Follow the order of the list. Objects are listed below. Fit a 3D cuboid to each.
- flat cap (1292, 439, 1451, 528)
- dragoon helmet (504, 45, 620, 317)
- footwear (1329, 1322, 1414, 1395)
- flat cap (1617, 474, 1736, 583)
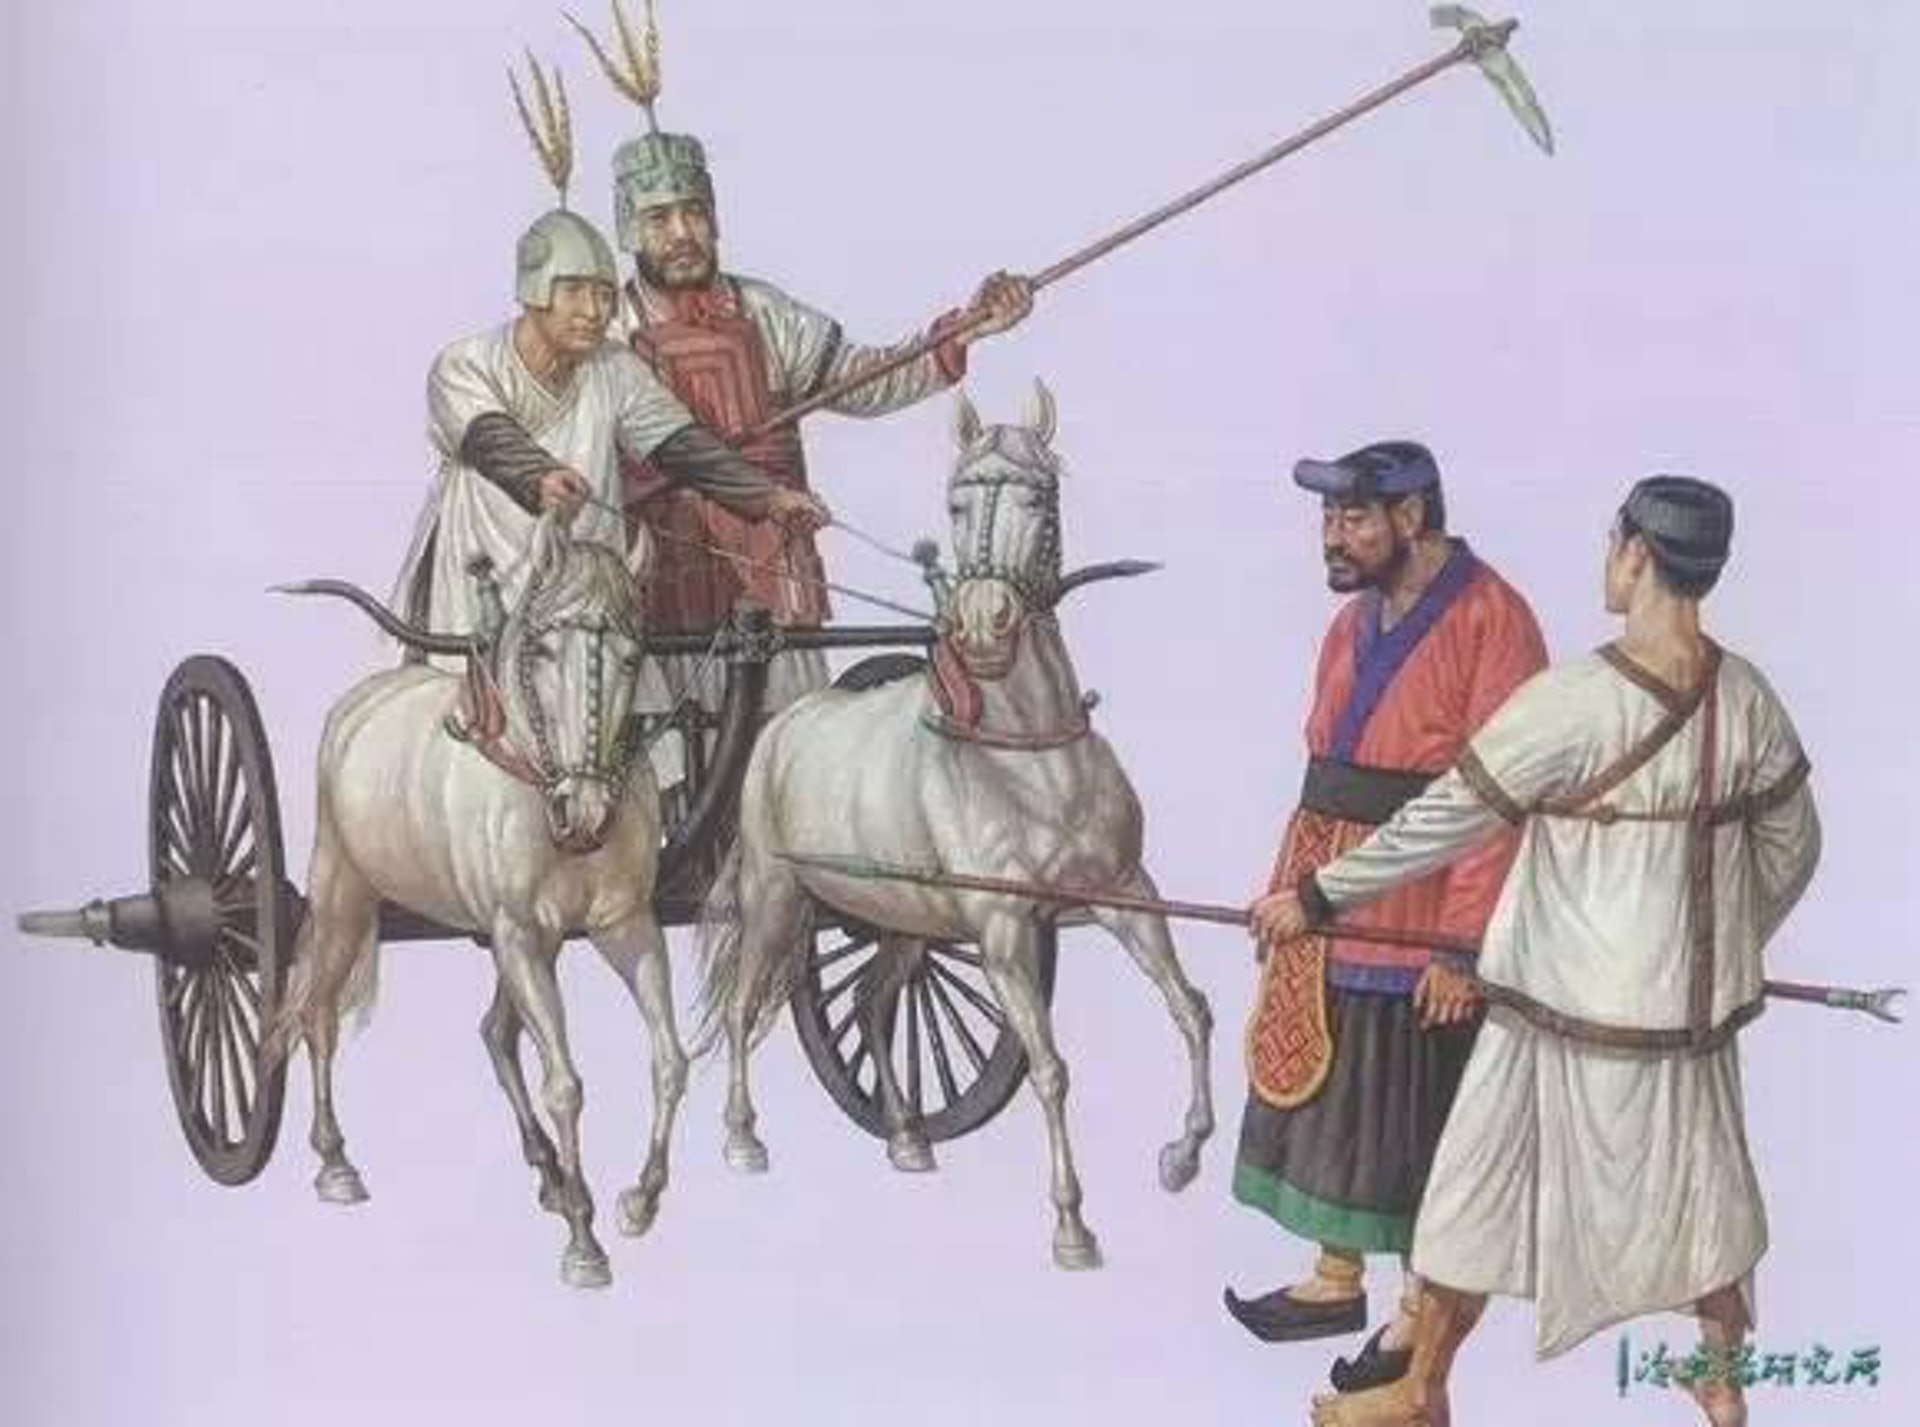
[{"bbox_3d":[1.088,-0.631,15.196,0.379,0.236,0.280,-1,-7,3],"label":"flat cap"},{"bbox_3d":[-1.111,-1.514,15.930,0.288,0.718,0.280,1,2,42],"label":"dragoon helmet"},{"bbox_3d":[1.084,1.731,15.375,0.128,0.171,0.297,5,-9,-36],"label":"footwear"},{"bbox_3d":[1.873,-0.484,14.961,0.295,0.310,0.185,-1,-7,6],"label":"flat cap"}]
